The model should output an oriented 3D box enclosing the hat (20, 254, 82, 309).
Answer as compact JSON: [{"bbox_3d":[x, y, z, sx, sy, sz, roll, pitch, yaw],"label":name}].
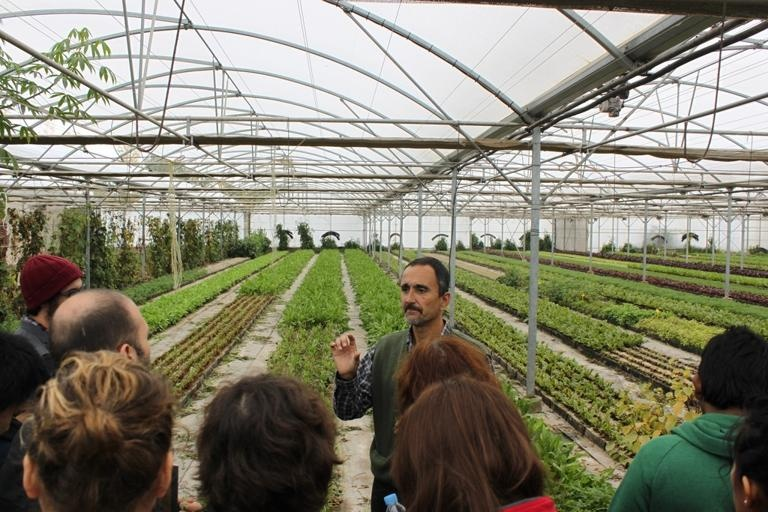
[{"bbox_3d":[-3.310,0.252,5.069,0.575,0.472,0.523,-10,12,-23],"label":"hat"}]

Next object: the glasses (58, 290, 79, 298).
[{"bbox_3d":[-2.945,0.352,4.771,0.087,0.024,0.084,-12,3,10],"label":"glasses"}]
